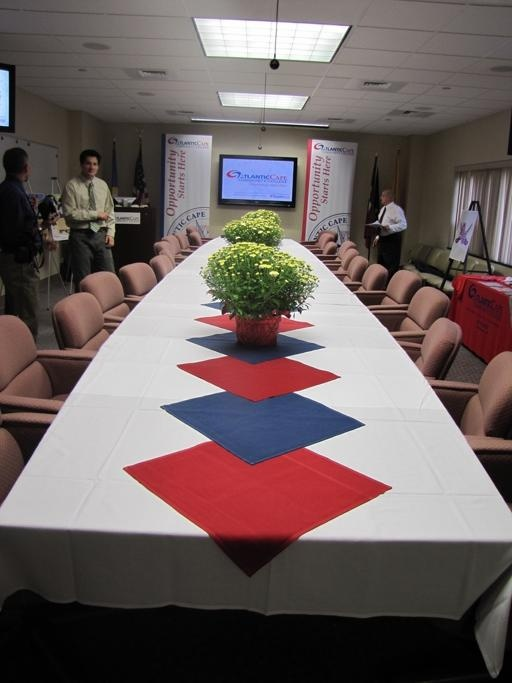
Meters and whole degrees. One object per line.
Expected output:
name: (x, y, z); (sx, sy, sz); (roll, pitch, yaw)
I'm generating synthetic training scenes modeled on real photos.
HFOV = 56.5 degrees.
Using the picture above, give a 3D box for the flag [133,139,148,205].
flag: (-2.378, -3.477, 9.803); (0.285, 1.349, 0.952); (2, 13, -15)

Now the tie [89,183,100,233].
tie: (-1.678, -1.380, 4.917); (0.116, 0.501, 0.173); (1, 13, -20)

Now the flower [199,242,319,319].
flower: (-0.001, -0.222, 1.766); (0.361, 0.211, 0.366); (12, -2, 9)

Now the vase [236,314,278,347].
vase: (0.009, -0.040, 1.870); (0.133, 0.087, 0.133); (1, 18, -10)

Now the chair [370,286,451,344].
chair: (0.949, -0.158, 2.929); (0.385, 0.421, 0.305); (-5, 29, -9)
